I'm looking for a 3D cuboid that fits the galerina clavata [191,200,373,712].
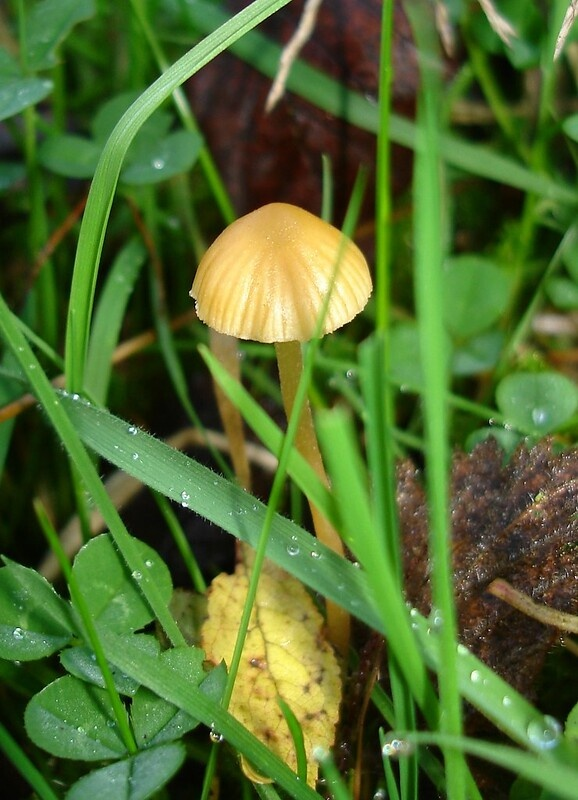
[{"bbox_3d":[-0.023,0.019,1.079,0.259,0.595,0.408,3,44,3],"label":"galerina clavata"}]
